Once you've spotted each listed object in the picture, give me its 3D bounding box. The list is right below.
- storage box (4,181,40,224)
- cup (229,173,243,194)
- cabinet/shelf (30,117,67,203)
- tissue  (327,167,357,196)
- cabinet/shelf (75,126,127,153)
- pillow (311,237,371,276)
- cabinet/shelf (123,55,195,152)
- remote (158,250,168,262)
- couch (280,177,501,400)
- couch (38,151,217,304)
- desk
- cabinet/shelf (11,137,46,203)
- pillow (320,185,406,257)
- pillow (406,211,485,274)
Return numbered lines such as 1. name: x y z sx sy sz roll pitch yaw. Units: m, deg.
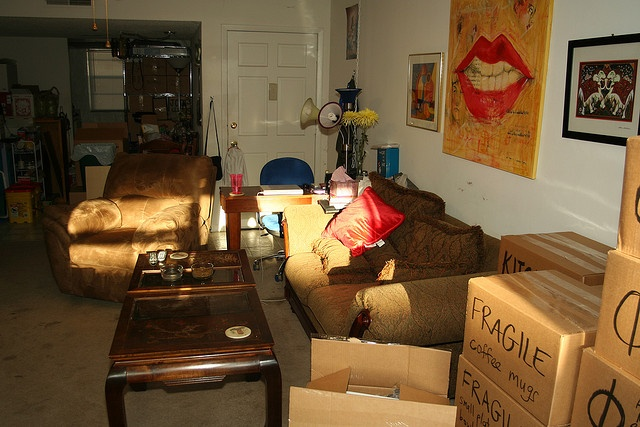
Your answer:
1. storage box: -4.100 -0.143 6.195 0.336 0.492 0.469 -3 15 -8
2. cup: -0.799 -0.299 4.365 0.179 0.203 0.179 0 17 0
3. cabinet/shelf: -4.175 -0.773 6.880 0.375 1.062 1.050 -4 23 -13
4. tissue : 0.211 -0.293 4.267 0.271 0.383 0.210 -2 15 -13
5. cabinet/shelf: -3.464 -1.149 7.077 0.611 0.361 0.844 -3 14 -9
6. pillow: 0.134 0.338 3.571 0.278 0.096 0.313 -6 32 -17
7. cabinet/shelf: -3.582 -2.473 10.099 1.366 1.766 0.881 -2 -4 -12
8. remote: -1.150 0.311 3.253 0.046 0.079 0.019 2 -27 -1
9. couch: 0.435 0.548 3.546 1.145 1.373 2.379 2 12 -13
10. couch: -1.819 0.084 4.429 1.396 1.178 1.347 2 19 0
11. desk: -0.566 0.234 4.639 1.069 0.738 0.572 -3 19 -13
12. cabinet/shelf: -4.282 -0.757 6.545 0.321 0.573 0.213 -7 5 -37
13. pillow: 0.356 0.037 3.670 0.724 0.200 0.767 -16 38 8
14. pillow: 0.831 0.251 3.086 0.616 0.174 0.620 -9 42 31
